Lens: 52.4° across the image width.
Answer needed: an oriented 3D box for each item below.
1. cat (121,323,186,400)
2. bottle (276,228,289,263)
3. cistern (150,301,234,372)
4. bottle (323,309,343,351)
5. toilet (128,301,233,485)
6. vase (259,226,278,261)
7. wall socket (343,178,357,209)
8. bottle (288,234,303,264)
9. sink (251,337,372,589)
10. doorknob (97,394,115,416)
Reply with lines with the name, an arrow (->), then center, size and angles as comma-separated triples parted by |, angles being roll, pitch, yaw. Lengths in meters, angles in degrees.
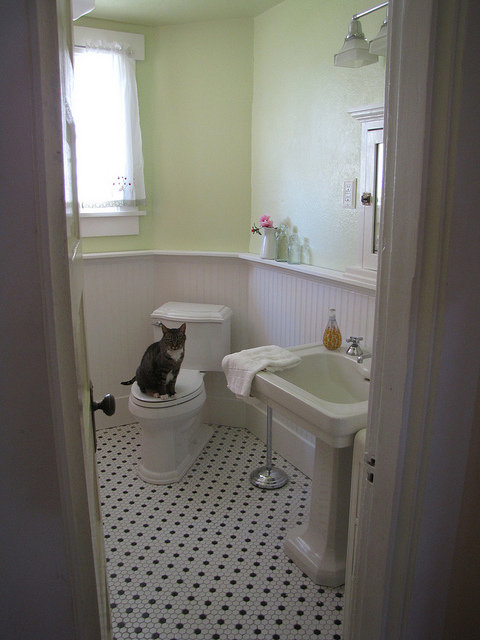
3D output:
cat -> -0.437, 0.175, 2.528 | 0.343, 0.466, 0.154 | 18, 20, 29
bottle -> 0.236, -0.411, 2.695 | 0.058, 0.171, 0.143 | -1, 11, -4
cistern -> -0.277, -0.095, 2.923 | 0.411, 0.588, 0.334 | 4, 19, 11
bottle -> 0.405, 0.041, 2.130 | 0.055, 0.189, 0.069 | 4, -10, -10
toilet -> -0.325, 0.374, 2.766 | 0.310, 0.885, 0.631 | 9, 18, 24
vase -> 0.162, -0.435, 2.746 | 0.090, 0.187, 0.106 | 1, 11, 6
wall socket -> 0.500, -0.577, 2.223 | 0.017, 0.132, 0.095 | -5, 12, -25
bottle -> 0.295, -0.382, 2.610 | 0.093, 0.147, 0.040 | 5, 11, 28
sink -> 0.369, 0.560, 1.912 | 0.488, 0.906, 0.423 | -7, 17, -27
doorknob -> -0.260, 0.167, 0.959 | 0.029, 0.054, 0.041 | -1, 5, -2
